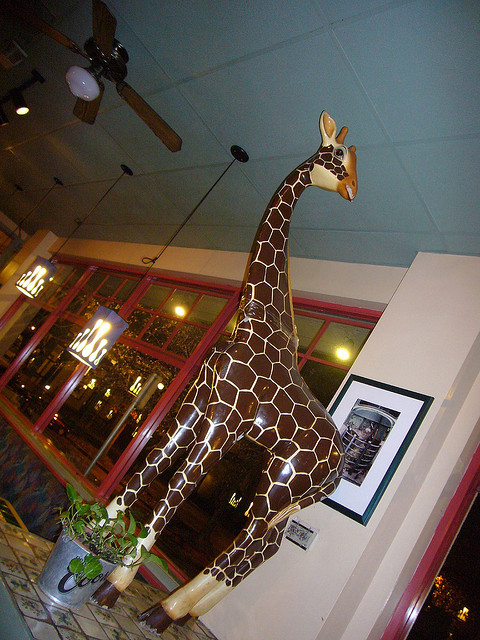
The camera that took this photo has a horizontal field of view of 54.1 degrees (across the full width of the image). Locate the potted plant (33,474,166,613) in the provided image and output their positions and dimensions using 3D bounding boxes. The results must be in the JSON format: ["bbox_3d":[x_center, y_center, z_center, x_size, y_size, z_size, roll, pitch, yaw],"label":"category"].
[{"bbox_3d":[-0.448,0.790,1.526,0.284,0.260,0.180,31,-23,-9],"label":"potted plant"}]

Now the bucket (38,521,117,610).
[{"bbox_3d":[-0.508,0.748,1.581,0.267,0.296,0.206,-5,-19,35],"label":"bucket"}]
